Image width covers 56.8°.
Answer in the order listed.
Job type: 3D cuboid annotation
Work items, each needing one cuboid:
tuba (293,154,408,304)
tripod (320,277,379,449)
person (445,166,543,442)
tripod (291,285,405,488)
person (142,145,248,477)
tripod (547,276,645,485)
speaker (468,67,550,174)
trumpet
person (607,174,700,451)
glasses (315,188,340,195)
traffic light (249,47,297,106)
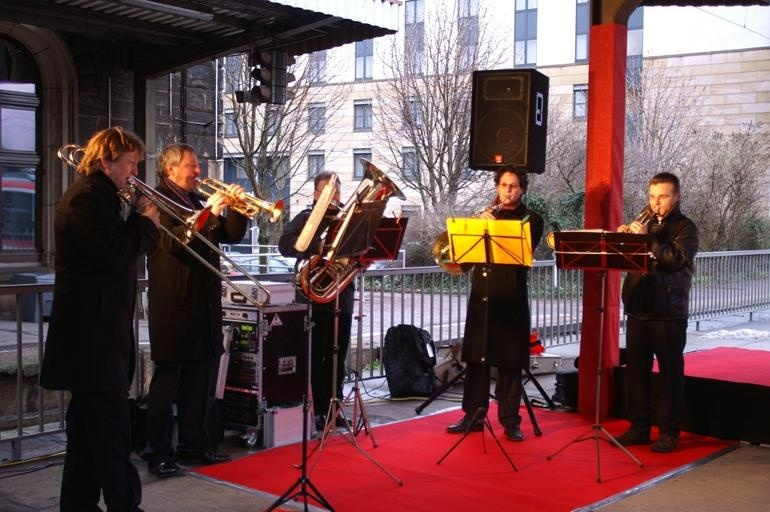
[{"bbox_3d":[-0.298,-0.214,6.404,0.925,1.272,1.024,-1,1,12],"label":"tuba"},{"bbox_3d":[-0.348,1.190,6.832,0.569,1.485,0.542,-1,15,3],"label":"tripod"},{"bbox_3d":[1.117,0.472,7.212,0.826,2.695,0.603,4,5,34],"label":"person"},{"bbox_3d":[-0.333,1.193,7.047,0.881,1.701,0.976,1,-9,4],"label":"tripod"},{"bbox_3d":[-1.708,0.439,6.761,1.056,2.901,1.051,-3,7,-18],"label":"person"},{"bbox_3d":[2.085,1.012,7.153,0.748,1.979,0.895,7,-11,-2],"label":"tripod"},{"bbox_3d":[1.392,-1.522,7.976,0.765,1.031,0.570,7,12,30],"label":"speaker"},{"bbox_3d":[-1.253,-0.476,6.083,0.732,0.196,0.274,21,-35,2],"label":"trumpet"},{"bbox_3d":[2.693,0.630,7.137,0.718,3.071,0.854,1,-1,-32],"label":"person"},{"bbox_3d":[-0.508,-0.581,6.365,0.133,0.041,0.139,-17,-12,39],"label":"glasses"},{"bbox_3d":[-1.805,-2.798,11.115,0.558,0.924,0.653,9,10,40],"label":"traffic light"}]
